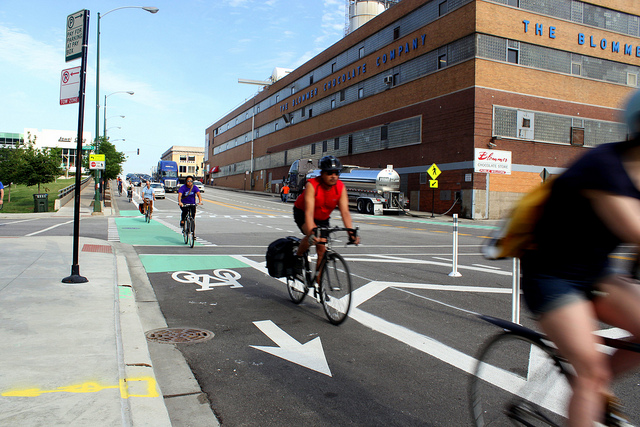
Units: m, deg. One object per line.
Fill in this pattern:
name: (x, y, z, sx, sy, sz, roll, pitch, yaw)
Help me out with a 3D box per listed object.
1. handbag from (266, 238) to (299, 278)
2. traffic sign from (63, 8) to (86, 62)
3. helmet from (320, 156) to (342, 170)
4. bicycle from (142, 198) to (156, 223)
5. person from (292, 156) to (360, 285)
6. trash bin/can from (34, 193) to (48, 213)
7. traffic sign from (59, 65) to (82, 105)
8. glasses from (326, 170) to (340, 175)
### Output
handbag: (-0.568, 0.695, 7.321, 0.703, 0.671, 0.492, 3, 0, -22)
traffic sign: (-4.462, -3.171, 8.356, 0.194, 0.873, 0.737, 4, 4, -42)
helmet: (0.125, -0.664, 6.198, 0.306, 0.167, 0.249, 7, 3, 15)
bicycle: (-8.134, -0.217, 22.344, 0.809, 0.862, 1.599, 2, 4, -30)
person: (0.085, 0.125, 6.535, 0.745, 1.381, 1.083, 6, 3, -16)
trash bin/can: (-17.737, -0.618, 29.375, 0.856, 1.180, 0.739, 6, 3, -6)
traffic sign: (-4.476, -2.267, 8.267, 0.753, 0.684, 0.154, 9, 4, 41)
glasses: (0.204, -0.543, 6.194, 0.127, 0.056, 0.227, 9, 4, 44)
